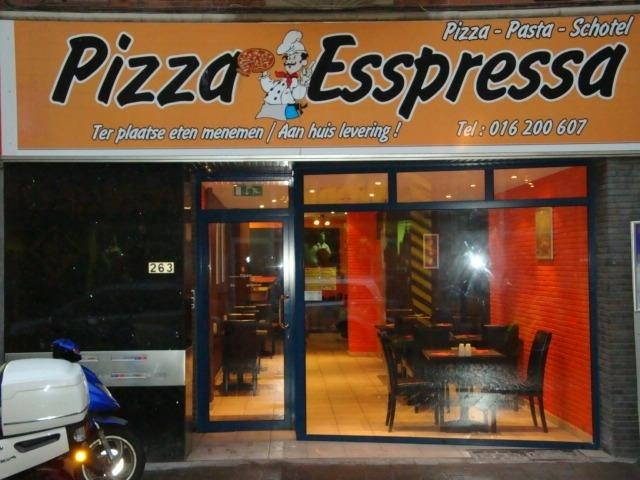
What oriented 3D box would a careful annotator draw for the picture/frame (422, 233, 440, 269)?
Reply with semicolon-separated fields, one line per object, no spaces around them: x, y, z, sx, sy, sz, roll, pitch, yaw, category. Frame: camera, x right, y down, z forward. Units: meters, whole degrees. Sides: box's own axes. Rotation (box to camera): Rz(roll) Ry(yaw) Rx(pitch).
1.444;0.153;8.309;0.210;0.466;0.078;-1;-5;-3;picture/frame

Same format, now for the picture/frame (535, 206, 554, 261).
2.905;-0.082;8.294;0.247;0.654;0.074;-4;7;-25;picture/frame

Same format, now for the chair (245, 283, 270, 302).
-0.820;0.713;8.692;0.268;0.181;0.269;0;2;4;chair

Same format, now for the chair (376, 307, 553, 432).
1.851;1.668;8.621;1.720;1.116;1.567;0;-2;1;chair
